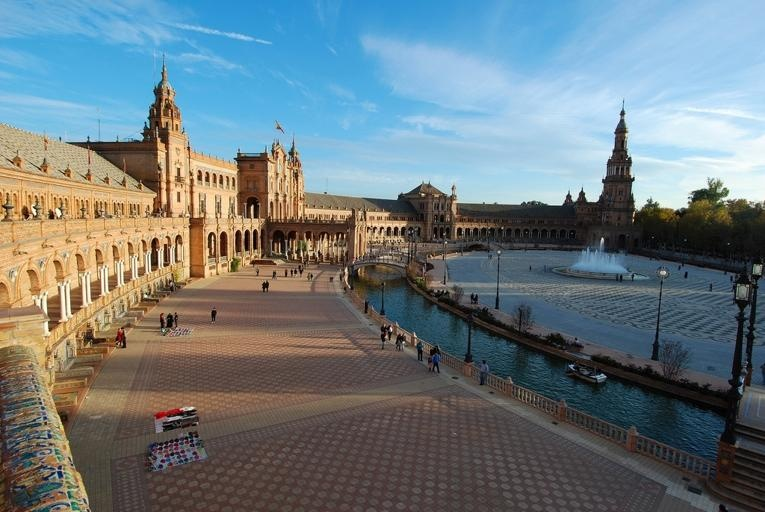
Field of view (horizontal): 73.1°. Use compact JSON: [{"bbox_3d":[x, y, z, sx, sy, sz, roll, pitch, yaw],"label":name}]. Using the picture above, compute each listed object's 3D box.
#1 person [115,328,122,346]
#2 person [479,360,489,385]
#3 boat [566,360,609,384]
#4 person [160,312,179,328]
[{"bbox_3d":[-17.671,5.335,34.209,0.468,1.101,0.862,-2,9,-28],"label":"person"},{"bbox_3d":[5.869,6.883,30.353,0.466,1.156,0.815,3,8,6],"label":"person"},{"bbox_3d":[13.594,7.845,34.454,1.280,0.769,2.413,-5,11,-44],"label":"boat"},{"bbox_3d":[-16.312,4.828,38.951,1.023,1.632,0.586,1,2,-39],"label":"person"}]
